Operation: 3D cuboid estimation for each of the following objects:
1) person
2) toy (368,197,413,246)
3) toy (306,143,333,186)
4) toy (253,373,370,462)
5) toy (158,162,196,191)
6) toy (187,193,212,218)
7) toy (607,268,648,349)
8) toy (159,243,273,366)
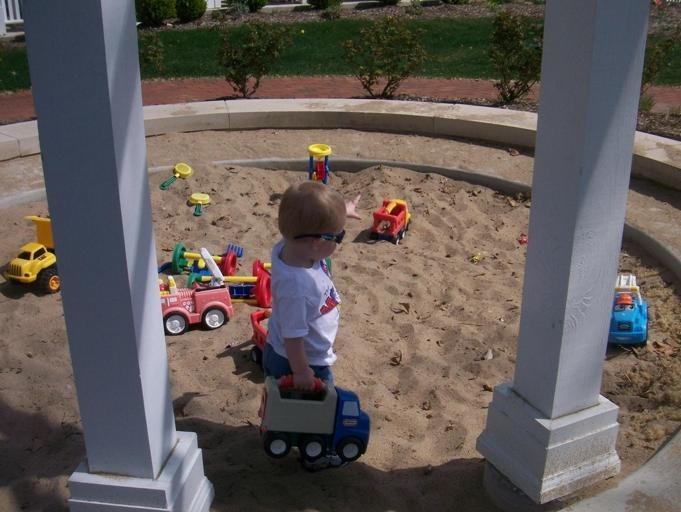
[{"bbox_3d":[-0.196,0.181,3.524,0.371,1.100,0.449,5,23,9],"label":"person"},{"bbox_3d":[0.542,-0.381,7.070,0.318,0.338,0.561,13,29,21],"label":"toy"},{"bbox_3d":[-0.270,-1.018,7.575,0.209,0.350,0.214,9,20,-11],"label":"toy"},{"bbox_3d":[-0.165,0.850,3.772,0.637,0.461,0.364,0,21,-8],"label":"toy"},{"bbox_3d":[-1.841,-0.912,7.559,0.190,0.081,0.441,29,38,7],"label":"toy"},{"bbox_3d":[-1.503,-0.568,7.182,0.247,0.151,0.392,-5,24,-15],"label":"toy"},{"bbox_3d":[2.322,0.437,5.445,0.348,0.217,0.671,-1,30,28],"label":"toy"},{"bbox_3d":[-1.071,0.436,5.593,1.057,0.410,0.783,-1,27,-11],"label":"toy"}]
